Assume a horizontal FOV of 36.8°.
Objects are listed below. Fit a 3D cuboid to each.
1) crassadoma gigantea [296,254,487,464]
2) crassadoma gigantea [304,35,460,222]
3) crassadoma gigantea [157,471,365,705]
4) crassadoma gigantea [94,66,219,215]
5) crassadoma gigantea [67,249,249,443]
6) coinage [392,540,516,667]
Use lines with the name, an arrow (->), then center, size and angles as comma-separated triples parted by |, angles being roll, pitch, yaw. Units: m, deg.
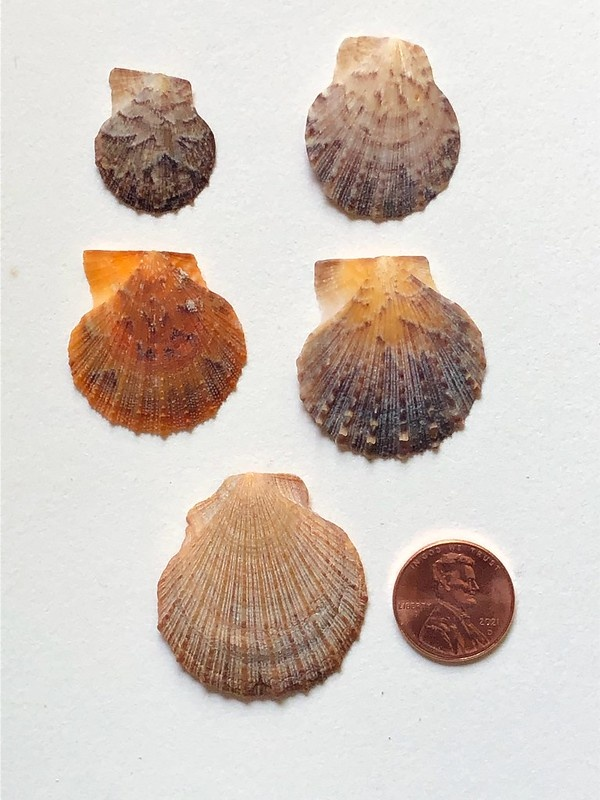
crassadoma gigantea -> 0.142, -0.074, 1.475 | 0.365, 0.321, 0.099 | -5, 15, 2
crassadoma gigantea -> 0.140, -0.457, 1.532 | 0.259, 0.307, 0.074 | -1, 18, 7
crassadoma gigantea -> -0.064, 0.308, 1.499 | 0.351, 0.372, 0.120 | -3, 18, 2
crassadoma gigantea -> -0.236, -0.450, 1.563 | 0.203, 0.231, 0.184 | -19, 28, -38
crassadoma gigantea -> -0.242, -0.093, 1.533 | 0.298, 0.311, 0.088 | -6, 18, -8
coinage -> 0.254, 0.348, 1.503 | 0.262, 0.206, 0.032 | 2, 1, -1
